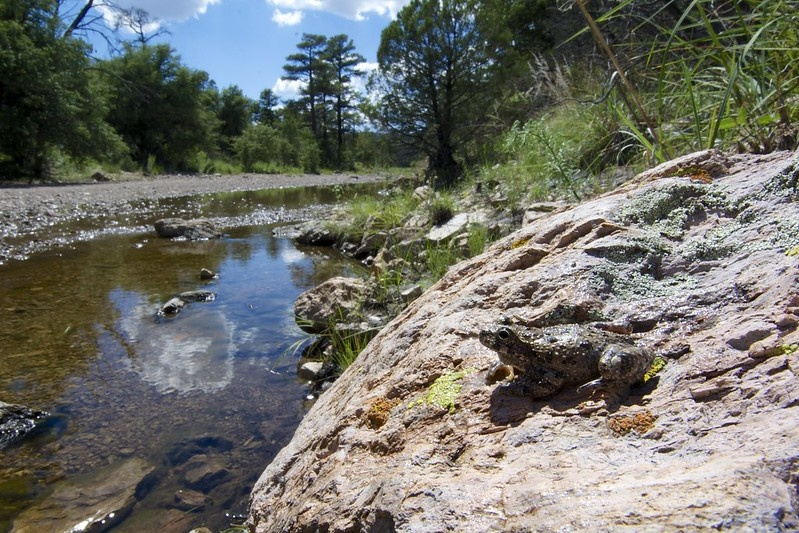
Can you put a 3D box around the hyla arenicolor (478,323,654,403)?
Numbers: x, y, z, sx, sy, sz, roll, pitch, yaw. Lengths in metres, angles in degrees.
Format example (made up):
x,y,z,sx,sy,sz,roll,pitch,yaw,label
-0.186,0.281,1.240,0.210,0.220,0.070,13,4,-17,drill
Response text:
x,y,z,sx,sy,sz,roll,pitch,yaw,label
1.309,0.707,4.794,0.871,0.337,0.666,-5,8,13,hyla arenicolor
